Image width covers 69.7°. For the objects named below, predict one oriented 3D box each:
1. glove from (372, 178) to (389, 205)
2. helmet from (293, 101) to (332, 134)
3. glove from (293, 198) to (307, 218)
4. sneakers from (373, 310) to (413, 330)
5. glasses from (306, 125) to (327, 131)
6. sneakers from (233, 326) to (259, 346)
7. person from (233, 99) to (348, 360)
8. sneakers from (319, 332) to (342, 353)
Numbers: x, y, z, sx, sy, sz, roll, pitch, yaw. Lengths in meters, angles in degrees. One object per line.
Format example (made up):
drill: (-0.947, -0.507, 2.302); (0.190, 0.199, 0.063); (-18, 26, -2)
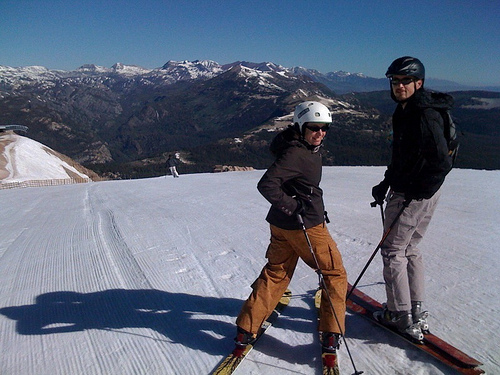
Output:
glove: (1.848, 0.045, 4.970); (0.222, 0.367, 0.090); (23, 24, 28)
helmet: (0.755, -0.901, 4.500); (0.343, 0.352, 0.465); (-3, -3, -34)
glove: (0.618, 0.245, 4.269); (0.174, 0.217, 0.112); (-5, 8, -7)
sneakers: (1.830, 1.676, 4.611); (0.178, 0.216, 0.479); (-9, 14, -29)
glasses: (0.845, -0.718, 4.363); (0.270, 0.079, 0.081); (-6, 7, -20)
sneakers: (-0.042, 1.861, 4.471); (0.228, 0.186, 0.310); (2, -25, 15)
person: (0.543, 0.492, 4.405); (1.224, 3.067, 0.759); (-2, 8, 14)
sneakers: (0.988, 1.884, 4.357); (0.242, 0.323, 0.247); (-3, 7, 11)
